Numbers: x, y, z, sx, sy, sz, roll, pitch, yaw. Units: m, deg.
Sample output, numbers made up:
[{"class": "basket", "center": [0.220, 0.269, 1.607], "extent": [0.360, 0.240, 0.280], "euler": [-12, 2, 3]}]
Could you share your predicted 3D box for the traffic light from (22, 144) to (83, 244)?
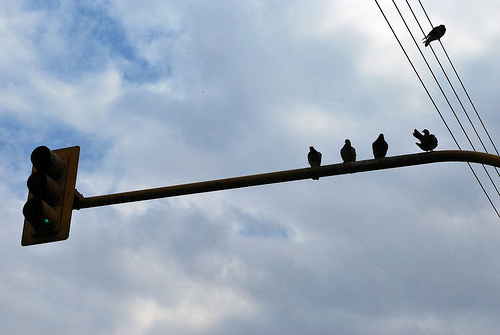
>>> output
[{"class": "traffic light", "center": [-3.316, 0.351, 16.207], "extent": [0.723, 1.660, 0.986], "euler": [-4, -42, 23]}]

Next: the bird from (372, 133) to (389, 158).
[{"class": "bird", "center": [2.449, -0.373, 18.420], "extent": [0.264, 0.247, 0.454], "euler": [11, -40, 6]}]

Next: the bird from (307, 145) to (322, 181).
[{"class": "bird", "center": [1.057, -0.027, 15.982], "extent": [0.186, 0.355, 0.575], "euler": [-4, -65, -1]}]
